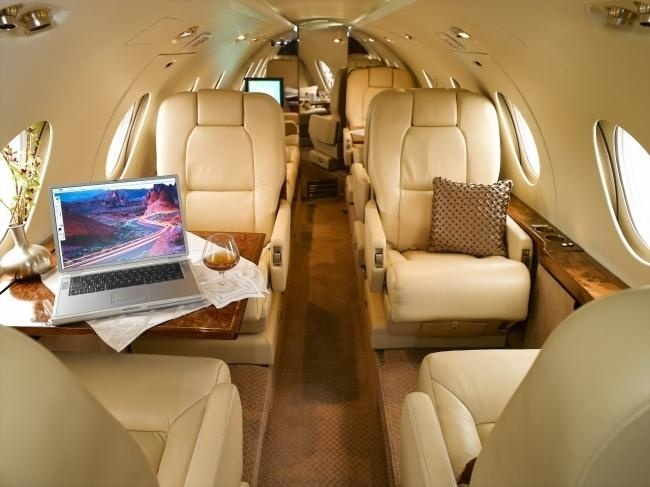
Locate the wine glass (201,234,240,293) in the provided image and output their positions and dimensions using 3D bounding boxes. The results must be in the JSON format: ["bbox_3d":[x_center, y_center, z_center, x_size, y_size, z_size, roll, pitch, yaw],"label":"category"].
[{"bbox_3d":[-0.431,0.074,2.043,0.157,0.230,0.160,-6,23,-19],"label":"wine glass"}]

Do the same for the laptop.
[{"bbox_3d":[-0.791,-0.010,1.927,0.503,0.376,0.494,-7,22,-25],"label":"laptop"}]
